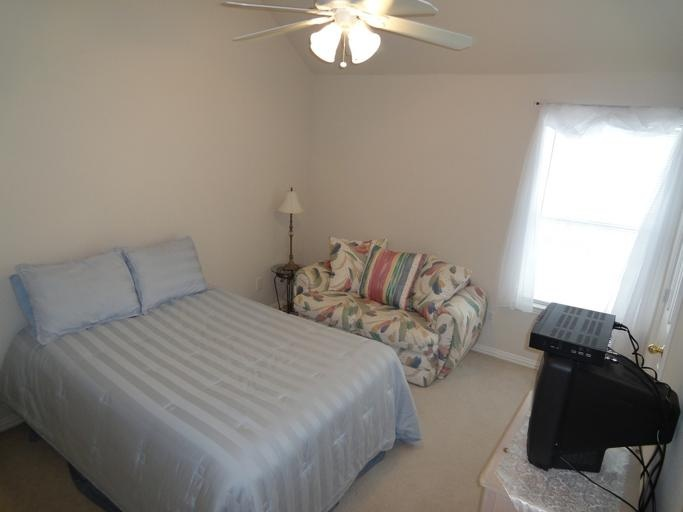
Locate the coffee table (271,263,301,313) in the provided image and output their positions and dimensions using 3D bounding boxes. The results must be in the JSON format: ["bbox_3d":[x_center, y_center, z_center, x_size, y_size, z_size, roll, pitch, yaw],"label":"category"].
[{"bbox_3d":[-0.563,0.391,5.108,0.297,0.423,0.329,-2,-3,-2],"label":"coffee table"}]

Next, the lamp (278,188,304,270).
[{"bbox_3d":[-0.546,-0.279,5.103,0.235,0.870,0.634,1,19,-6],"label":"lamp"}]

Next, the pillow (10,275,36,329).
[{"bbox_3d":[-2.136,0.292,3.263,0.083,0.356,0.070,-8,12,29],"label":"pillow"}]

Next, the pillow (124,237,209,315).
[{"bbox_3d":[-1.399,0.077,3.867,0.649,0.560,0.180,-13,16,6],"label":"pillow"}]

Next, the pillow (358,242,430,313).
[{"bbox_3d":[0.459,0.167,4.483,0.507,0.546,0.159,12,-12,38],"label":"pillow"}]

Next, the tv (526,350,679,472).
[{"bbox_3d":[1.138,0.584,2.151,0.481,0.410,0.506,1,8,25],"label":"tv"}]
